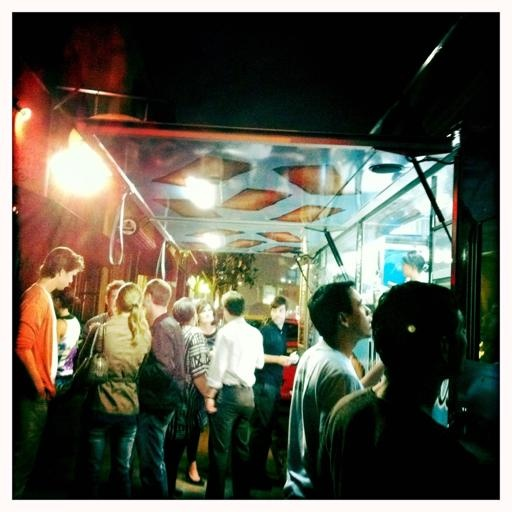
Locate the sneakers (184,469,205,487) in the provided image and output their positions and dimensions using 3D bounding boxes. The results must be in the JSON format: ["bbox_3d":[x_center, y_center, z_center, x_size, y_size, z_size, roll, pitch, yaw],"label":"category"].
[{"bbox_3d":[-0.536,1.942,4.318,0.072,0.165,0.203,14,-29,-35],"label":"sneakers"}]
